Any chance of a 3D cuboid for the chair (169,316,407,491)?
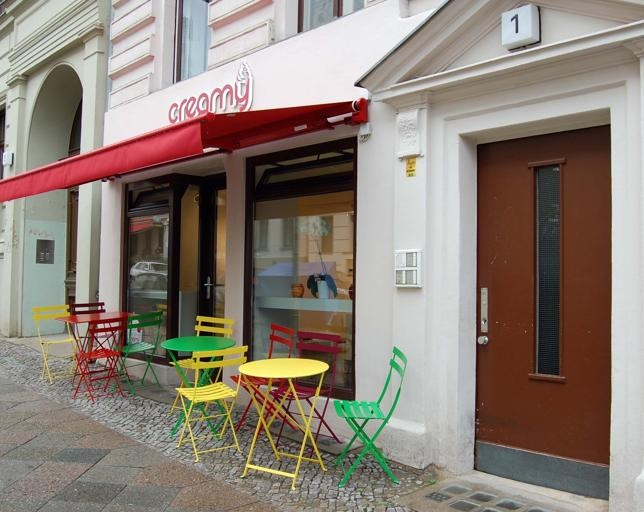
[{"bbox_3d":[-0.536,1.553,6.054,2.745,1.546,1.158,-2,-2,33],"label":"chair"}]
